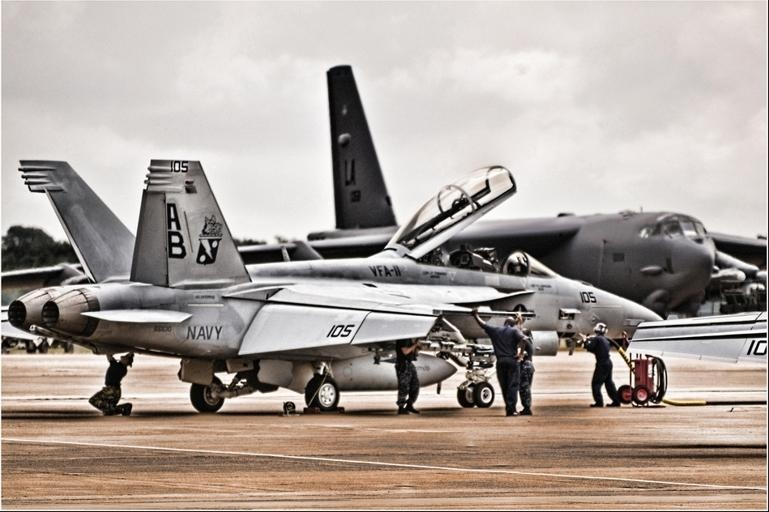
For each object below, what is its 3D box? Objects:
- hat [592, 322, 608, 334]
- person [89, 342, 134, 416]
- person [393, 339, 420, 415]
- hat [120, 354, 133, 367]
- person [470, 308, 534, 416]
[{"bbox_3d":[4.175,1.414,20.496,0.243,0.201,0.216,19,23,34],"label":"hat"},{"bbox_3d":[-4.674,2.206,18.153,0.713,1.234,1.118,-1,6,-14],"label":"person"},{"bbox_3d":[0.397,2.116,18.432,0.398,1.283,0.633,1,6,2],"label":"person"},{"bbox_3d":[-4.467,1.835,18.378,0.249,0.265,0.120,5,1,-21],"label":"hat"},{"bbox_3d":[2.102,1.883,18.273,0.812,1.771,1.077,-1,6,-15],"label":"person"}]
